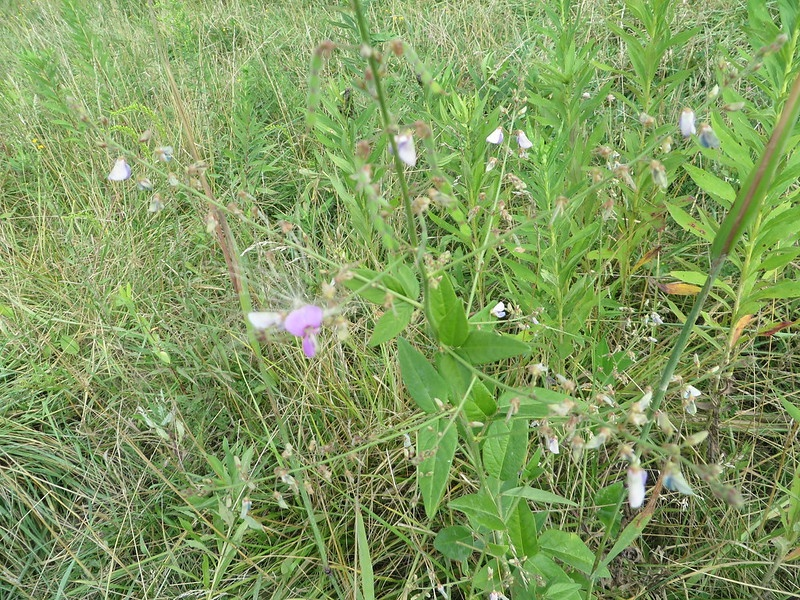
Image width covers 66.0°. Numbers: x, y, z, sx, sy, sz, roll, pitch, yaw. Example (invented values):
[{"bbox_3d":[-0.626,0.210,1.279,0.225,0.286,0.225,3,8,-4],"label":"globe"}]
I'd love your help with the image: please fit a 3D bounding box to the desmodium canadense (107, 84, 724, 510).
[{"bbox_3d":[0.432,-0.061,2.779,1.581,0.932,1.841,22,25,6],"label":"desmodium canadense"}]
